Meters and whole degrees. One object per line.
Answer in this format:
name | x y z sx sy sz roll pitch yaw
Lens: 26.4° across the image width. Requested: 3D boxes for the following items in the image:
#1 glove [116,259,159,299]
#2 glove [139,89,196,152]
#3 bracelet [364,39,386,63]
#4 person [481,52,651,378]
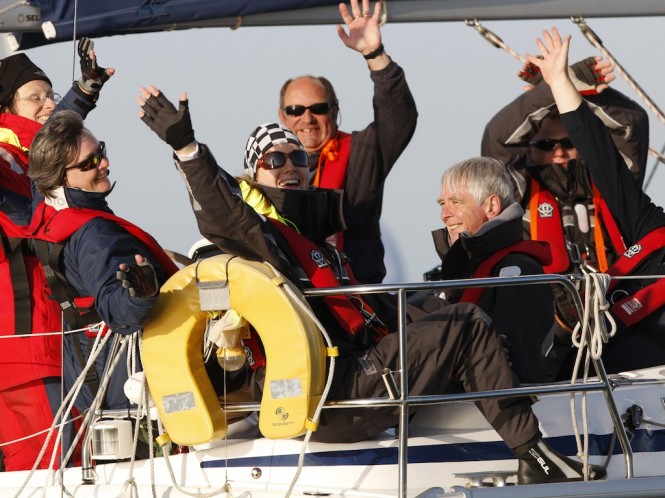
glove | -0.835 0.121 6.108 0.165 0.165 0.211 -6 -15 -7
glove | -0.713 -0.554 6.064 0.217 0.259 0.228 -8 -16 0
bracelet | 0.221 -0.983 7.101 0.085 0.031 0.096 -6 -37 -14
person | 1.314 -0.075 7.577 0.895 1.722 0.647 -10 -27 16
